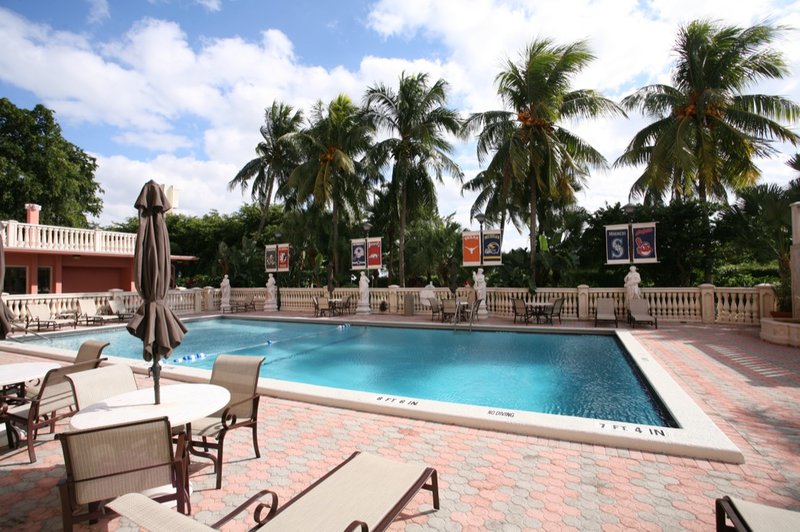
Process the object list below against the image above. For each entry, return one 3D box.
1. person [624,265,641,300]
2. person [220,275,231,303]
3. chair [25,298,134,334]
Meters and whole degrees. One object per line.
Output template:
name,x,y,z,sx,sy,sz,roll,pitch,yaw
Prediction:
person,10.660,0.790,23.949,0.731,1.761,0.672,2,25,20
person,-10.620,1.653,31.996,0.500,2.102,0.571,-2,-2,-27
chair,-15.700,2.289,25.375,4.037,1.420,2.054,-1,-4,-39
